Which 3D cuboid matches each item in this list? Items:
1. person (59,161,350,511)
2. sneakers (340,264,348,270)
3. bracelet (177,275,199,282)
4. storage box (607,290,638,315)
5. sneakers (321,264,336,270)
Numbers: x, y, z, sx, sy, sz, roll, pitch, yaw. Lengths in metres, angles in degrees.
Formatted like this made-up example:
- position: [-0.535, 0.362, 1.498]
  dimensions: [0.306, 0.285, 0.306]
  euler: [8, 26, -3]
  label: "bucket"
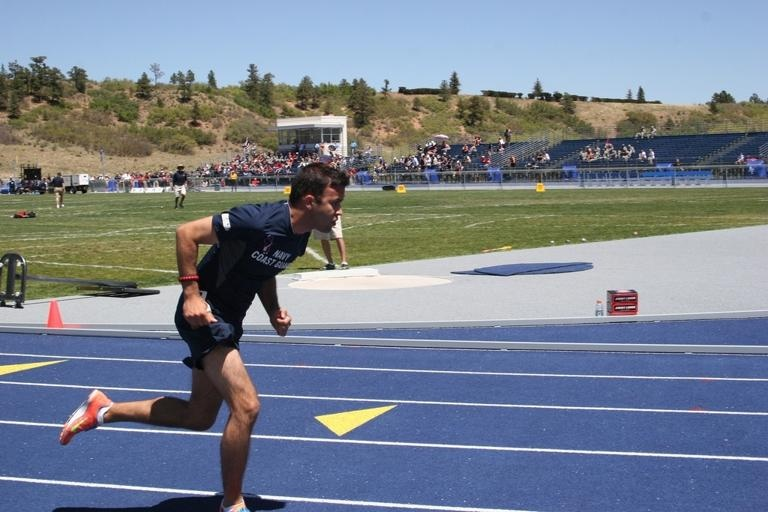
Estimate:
- position: [-1.417, 0.671, 8.780]
  dimensions: [1.701, 2.974, 1.197]
  euler: [5, 8, 36]
  label: "person"
- position: [-0.695, 0.177, 17.209]
  dimensions: [0.078, 0.070, 0.181]
  euler: [-2, -7, 2]
  label: "sneakers"
- position: [-1.646, 0.183, 8.483]
  dimensions: [0.152, 0.059, 0.097]
  euler: [-1, 6, -18]
  label: "bracelet"
- position: [3.046, 0.579, 13.143]
  dimensions: [0.493, 0.360, 0.320]
  euler: [0, 3, 4]
  label: "storage box"
- position: [-0.951, 0.180, 17.374]
  dimensions: [0.100, 0.082, 0.238]
  euler: [0, 2, -43]
  label: "sneakers"
